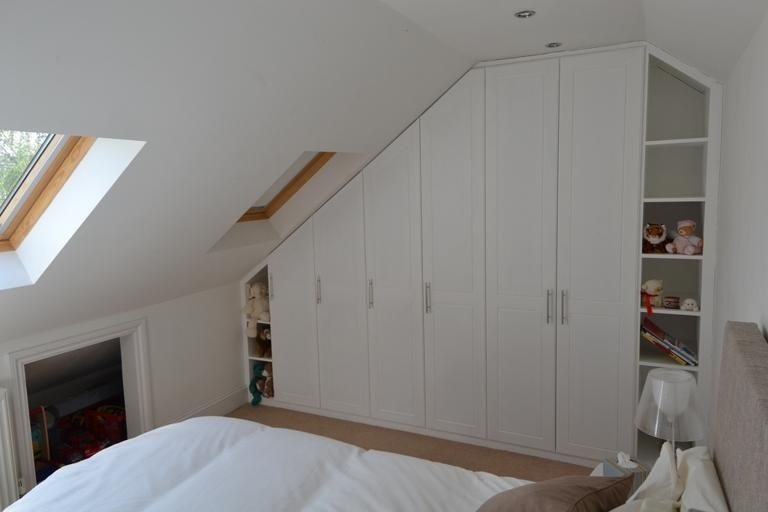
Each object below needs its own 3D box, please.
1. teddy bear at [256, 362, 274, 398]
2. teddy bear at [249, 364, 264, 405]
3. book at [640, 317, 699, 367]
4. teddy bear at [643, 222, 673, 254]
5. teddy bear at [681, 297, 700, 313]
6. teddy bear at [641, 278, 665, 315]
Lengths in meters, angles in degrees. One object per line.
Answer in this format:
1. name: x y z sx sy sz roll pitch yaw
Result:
1. teddy bear: -1.087 1.154 4.877 0.127 0.357 0.151 1 4 1
2. teddy bear: -1.186 1.178 4.897 0.122 0.386 0.151 0 1 9
3. book: 1.974 0.591 3.699 0.352 0.282 0.244 2 -2 26
4. teddy bear: 1.827 -0.118 3.574 0.143 0.119 0.257 1 4 29
5. teddy bear: 2.019 0.324 3.509 0.089 0.058 0.092 -1 2 30
6. teddy bear: 1.853 0.273 3.633 0.220 0.222 0.121 4 -2 -27
